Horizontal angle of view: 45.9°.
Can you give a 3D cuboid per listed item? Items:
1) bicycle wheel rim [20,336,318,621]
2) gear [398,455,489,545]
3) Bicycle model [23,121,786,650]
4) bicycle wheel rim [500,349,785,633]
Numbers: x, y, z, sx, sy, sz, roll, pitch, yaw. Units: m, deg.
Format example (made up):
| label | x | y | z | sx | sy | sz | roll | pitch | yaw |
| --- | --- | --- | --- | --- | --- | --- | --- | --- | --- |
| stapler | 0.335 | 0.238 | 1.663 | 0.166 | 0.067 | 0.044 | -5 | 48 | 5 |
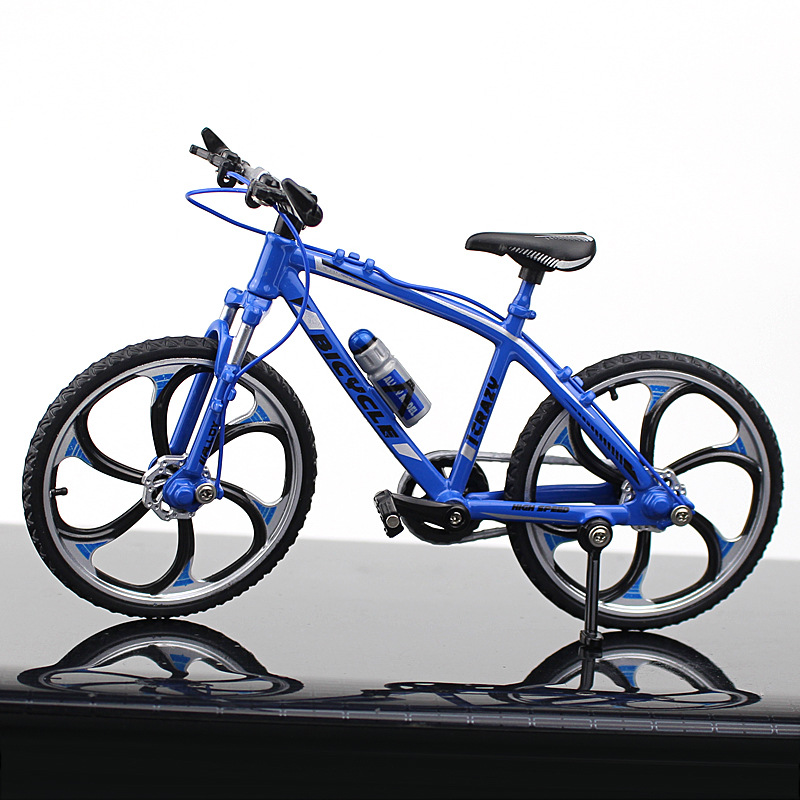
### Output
| label | x | y | z | sx | sy | sz | roll | pitch | yaw |
| --- | --- | --- | --- | --- | --- | --- | --- | --- | --- |
| bicycle wheel rim | -0.597 | 0.246 | 2.477 | 0.950 | 0.082 | 0.733 | 5 | -80 | -8 |
| gear | 0.141 | 0.267 | 2.599 | 0.308 | 0.265 | 0.231 | -13 | -92 | -3 |
| Bicycle model | 0.064 | 0.064 | 2.569 | 2.149 | 0.838 | 1.000 | 3 | -96 | -10 |
| bicycle wheel rim | 0.695 | 0.265 | 2.647 | 1.008 | 0.100 | 0.788 | -3 | -85 | -25 |
